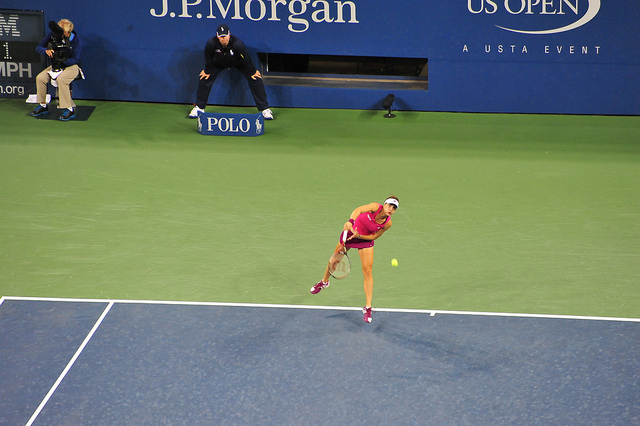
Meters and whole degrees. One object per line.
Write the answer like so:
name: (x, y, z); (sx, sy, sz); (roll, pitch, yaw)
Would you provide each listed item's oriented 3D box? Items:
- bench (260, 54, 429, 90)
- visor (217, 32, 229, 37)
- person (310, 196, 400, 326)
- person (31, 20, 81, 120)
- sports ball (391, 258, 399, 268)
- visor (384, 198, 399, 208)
bench: (0.685, -3.967, 17.681); (4.692, 0.893, 0.969); (1, 13, 2)
visor: (-2.412, -4.409, 15.542); (0.277, 0.109, 0.181); (-1, 13, -9)
person: (0.654, 0.792, 11.147); (1.353, 2.253, 0.863); (4, 14, 12)
person: (-6.681, -3.597, 15.896); (1.189, 2.452, 0.640); (6, 15, 19)
sports ball: (1.413, 0.949, 11.910); (0.154, 0.176, 0.147); (12, 43, -11)
visor: (1.230, -0.196, 10.749); (0.202, 0.138, 0.255); (1, 13, 2)
